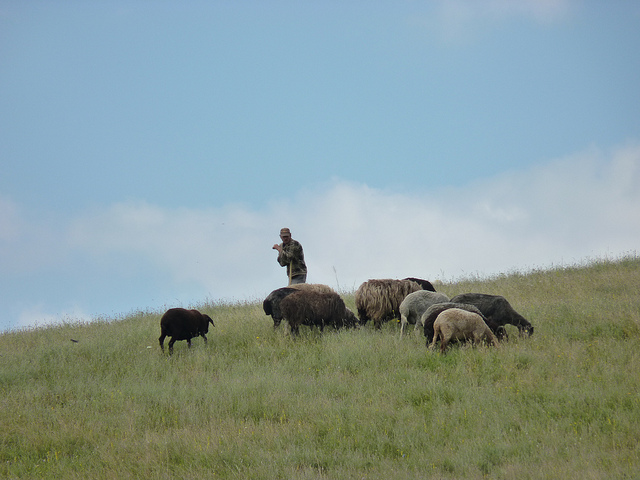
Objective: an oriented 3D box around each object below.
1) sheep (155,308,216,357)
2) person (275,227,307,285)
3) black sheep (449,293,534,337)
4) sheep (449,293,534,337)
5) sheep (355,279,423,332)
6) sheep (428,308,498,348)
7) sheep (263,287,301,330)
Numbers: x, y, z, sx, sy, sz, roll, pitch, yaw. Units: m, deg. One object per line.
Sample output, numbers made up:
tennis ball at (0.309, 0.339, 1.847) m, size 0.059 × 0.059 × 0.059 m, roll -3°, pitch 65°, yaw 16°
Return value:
sheep at (-3.433, 2.422, 27.042) m, size 0.573 × 1.283 × 2.229 m, roll -3°, pitch -3°, yaw 32°
person at (-0.792, 0.492, 29.117) m, size 0.759 × 1.702 × 0.677 m, roll -6°, pitch -14°, yaw -1°
black sheep at (4.318, 2.081, 26.169) m, size 2.094 × 1.349 × 0.737 m, roll 7°, pitch -15°, yaw 17°
sheep at (4.281, 2.082, 26.201) m, size 2.208 × 1.438 × 0.763 m, roll 9°, pitch -12°, yaw 24°
sheep at (2.067, 1.780, 28.093) m, size 1.950 × 1.670 × 1.054 m, roll -8°, pitch 1°, yaw -14°
sheep at (3.612, 2.216, 25.037) m, size 1.923 × 1.278 × 0.608 m, roll 1°, pitch 5°, yaw -10°
sheep at (-0.756, 1.728, 27.805) m, size 1.566 × 1.032 × 0.443 m, roll -12°, pitch 20°, yaw -30°
